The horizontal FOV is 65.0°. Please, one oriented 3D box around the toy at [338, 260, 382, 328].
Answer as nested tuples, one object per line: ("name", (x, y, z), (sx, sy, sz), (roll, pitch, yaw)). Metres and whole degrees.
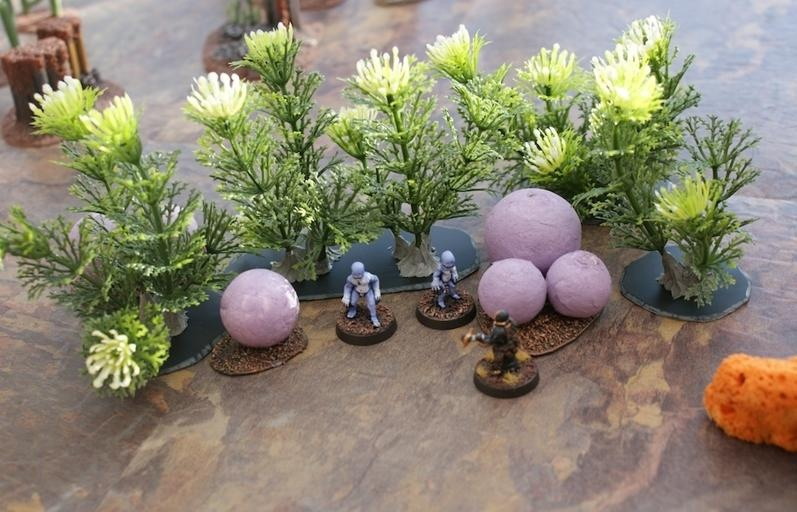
("toy", (-0.561, 0.534, 9.241), (0.615, 0.983, 0.537), (5, 44, 16))
